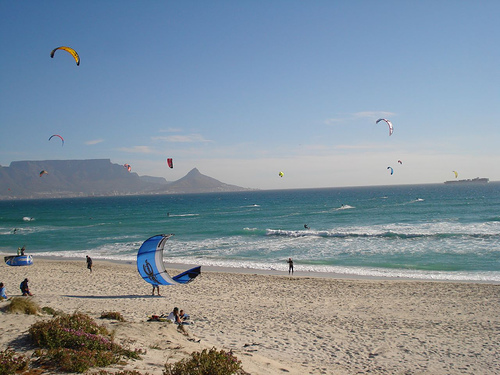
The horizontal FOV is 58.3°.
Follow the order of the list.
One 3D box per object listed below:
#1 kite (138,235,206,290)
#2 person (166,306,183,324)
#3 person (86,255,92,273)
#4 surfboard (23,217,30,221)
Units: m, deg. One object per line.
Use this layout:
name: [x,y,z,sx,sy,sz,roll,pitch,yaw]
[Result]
kite: [-3.628,3.775,20.554,0.869,2.749,3.511,-28,-50,33]
person: [-2.565,4.433,15.498,0.584,0.440,0.816,10,-5,-5]
person: [-9.202,4.397,25.771,0.436,0.881,0.865,13,-6,-18]
surfboard: [-35.861,4.918,72.060,0.927,0.275,0.876,1,2,1]
